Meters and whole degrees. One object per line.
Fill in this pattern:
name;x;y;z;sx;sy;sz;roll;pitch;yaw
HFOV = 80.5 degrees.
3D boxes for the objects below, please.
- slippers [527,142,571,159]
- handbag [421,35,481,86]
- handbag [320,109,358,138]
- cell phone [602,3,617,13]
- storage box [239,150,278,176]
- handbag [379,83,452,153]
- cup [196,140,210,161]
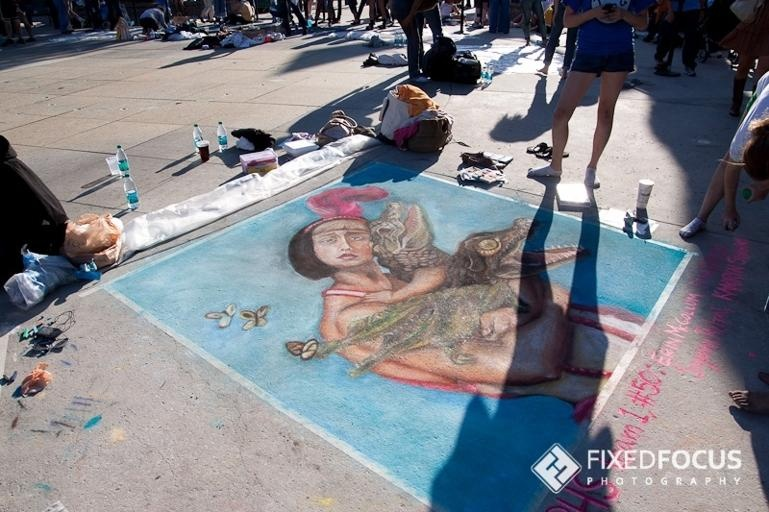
slippers;2.350;-1.539;6.486;0.458;0.097;0.321;-10;20;-29
handbag;1.446;-4.092;9.563;1.504;0.906;0.825;10;54;11
handbag;-0.684;-2.092;7.313;0.632;0.240;0.591;-4;33;6
cell phone;2.415;-2.642;4.860;0.134;0.071;0.113;5;7;-6
storage box;-1.712;-1.297;6.366;0.535;0.202;0.606;-22;34;-28
handbag;0.440;-1.989;6.745;1.310;0.533;0.969;-4;32;-45
cup;-2.693;-1.573;6.764;0.169;0.285;0.244;-18;35;-17
